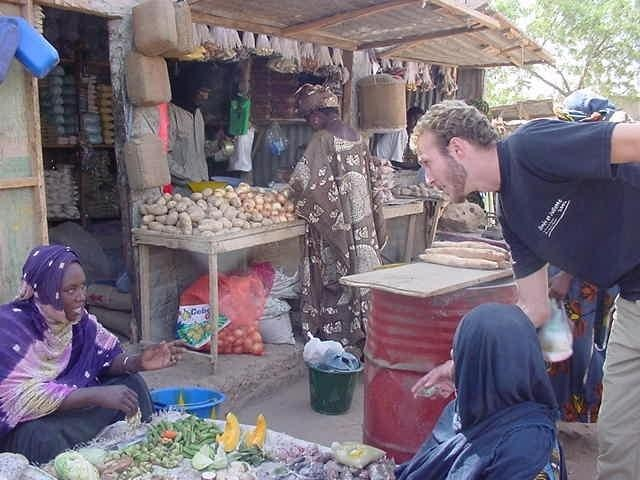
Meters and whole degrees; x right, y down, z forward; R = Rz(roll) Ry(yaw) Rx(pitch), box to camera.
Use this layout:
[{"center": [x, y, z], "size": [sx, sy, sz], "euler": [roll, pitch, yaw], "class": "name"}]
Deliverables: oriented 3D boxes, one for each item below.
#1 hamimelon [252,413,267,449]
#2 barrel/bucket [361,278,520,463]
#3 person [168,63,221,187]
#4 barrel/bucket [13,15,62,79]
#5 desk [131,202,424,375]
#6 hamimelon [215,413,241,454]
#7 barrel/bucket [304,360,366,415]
[{"center": [-0.335, 1.047, 3.343], "size": [0.063, 0.180, 0.057], "euler": [31, -39, -32], "class": "hamimelon"}, {"center": [0.748, 0.668, 3.968], "size": [0.877, 1.133, 0.820], "euler": [7, 12, -2], "class": "barrel/bucket"}, {"center": [-1.364, -1.261, 6.333], "size": [0.400, 1.175, 1.268], "euler": [-1, 15, -12], "class": "person"}, {"center": [-1.826, -1.210, 3.896], "size": [0.254, 0.377, 0.262], "euler": [6, 13, -1], "class": "barrel/bucket"}, {"center": [-0.573, 0.021, 5.229], "size": [1.514, 1.955, 1.996], "euler": [7, 9, 42], "class": "desk"}, {"center": [-0.511, 1.036, 3.278], "size": [0.111, 0.192, 0.122], "euler": [1, -15, 14], "class": "hamimelon"}, {"center": [0.109, 1.108, 4.783], "size": [0.372, 0.411, 0.371], "euler": [1, 5, 0], "class": "barrel/bucket"}]
